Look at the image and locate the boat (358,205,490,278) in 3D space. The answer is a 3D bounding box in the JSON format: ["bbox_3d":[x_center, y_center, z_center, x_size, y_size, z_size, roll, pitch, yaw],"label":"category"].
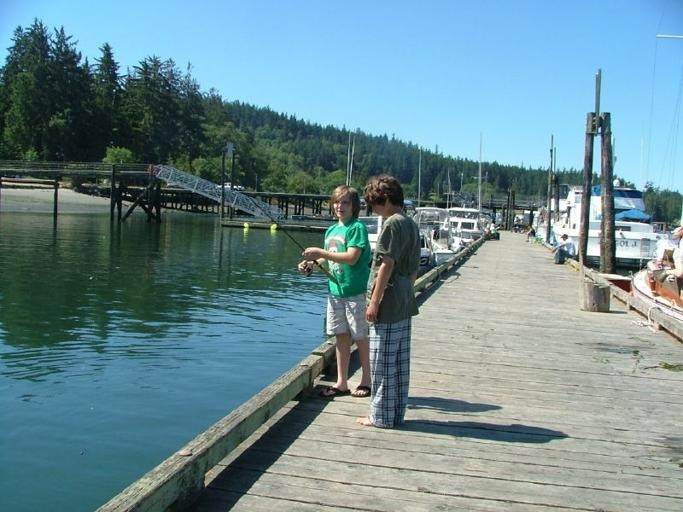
[{"bbox_3d":[3.046,-0.664,28.063,2.725,2.558,8.515,1,3,17],"label":"boat"}]

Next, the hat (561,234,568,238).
[{"bbox_3d":[8.014,-0.723,26.151,0.282,0.068,0.289,-2,2,30],"label":"hat"}]

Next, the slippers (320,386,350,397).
[{"bbox_3d":[-0.072,1.534,8.123,0.238,0.061,0.138,8,-9,-9],"label":"slippers"}]

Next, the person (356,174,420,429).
[{"bbox_3d":[0.484,0.660,7.339,0.769,2.158,0.354,-13,14,-35],"label":"person"}]
